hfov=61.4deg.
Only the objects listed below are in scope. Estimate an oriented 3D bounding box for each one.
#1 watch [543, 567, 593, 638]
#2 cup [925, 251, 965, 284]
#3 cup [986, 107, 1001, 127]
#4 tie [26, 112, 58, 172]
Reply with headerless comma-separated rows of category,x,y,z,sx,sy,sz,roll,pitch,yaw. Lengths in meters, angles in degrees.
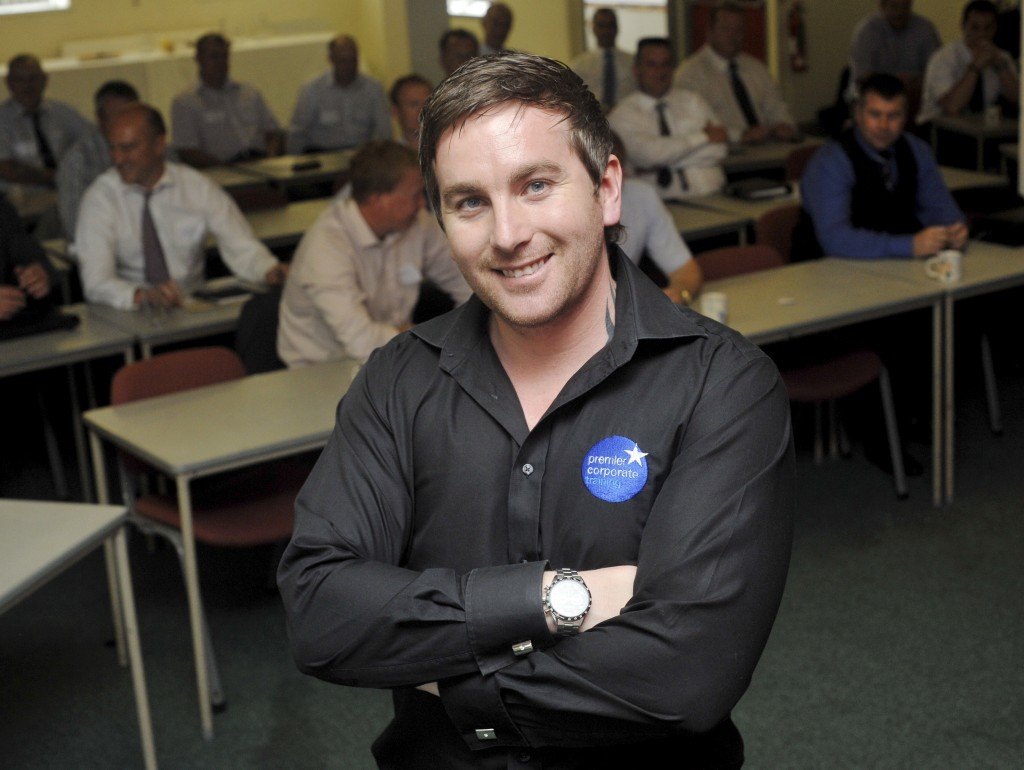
watch,0.060,0.256,1.011,0.054,0.069,0.064,-2,-12,1
cup,1.797,-0.499,3.597,0.172,0.123,0.116,1,8,24
cup,2.505,-1.393,4.484,0.085,0.096,0.084,-1,4,0
tie,-1.945,-1.004,3.605,0.055,0.275,0.030,-15,24,1
